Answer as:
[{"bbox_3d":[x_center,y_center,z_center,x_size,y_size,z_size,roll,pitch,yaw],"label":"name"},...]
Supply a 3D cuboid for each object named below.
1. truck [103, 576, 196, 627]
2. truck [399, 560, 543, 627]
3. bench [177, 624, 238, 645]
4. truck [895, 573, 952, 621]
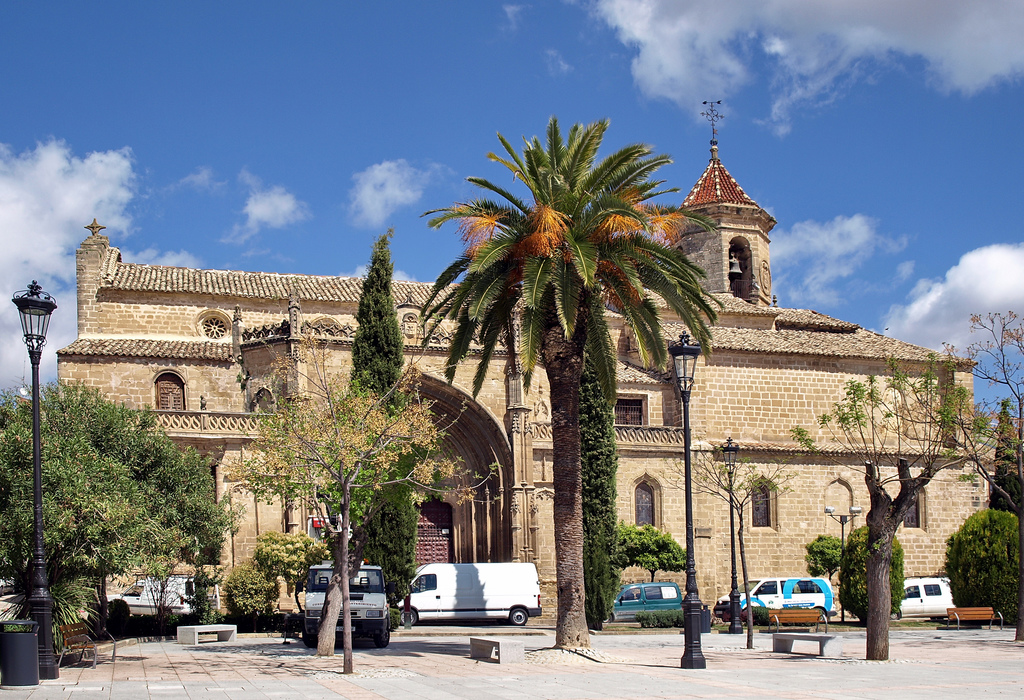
[{"bbox_3d":[-14.052,9.683,61.485,2.699,1.889,6.092,6,-15,-21],"label":"truck"},{"bbox_3d":[-1.612,10.034,64.689,6.210,2.503,2.321,1,-7,-6],"label":"truck"},{"bbox_3d":[-11.091,10.225,56.145,2.062,0.872,2.111,10,-17,-33],"label":"bench"},{"bbox_3d":[18.070,10.935,68.706,2.430,1.371,1.647,2,-8,-5],"label":"truck"}]
